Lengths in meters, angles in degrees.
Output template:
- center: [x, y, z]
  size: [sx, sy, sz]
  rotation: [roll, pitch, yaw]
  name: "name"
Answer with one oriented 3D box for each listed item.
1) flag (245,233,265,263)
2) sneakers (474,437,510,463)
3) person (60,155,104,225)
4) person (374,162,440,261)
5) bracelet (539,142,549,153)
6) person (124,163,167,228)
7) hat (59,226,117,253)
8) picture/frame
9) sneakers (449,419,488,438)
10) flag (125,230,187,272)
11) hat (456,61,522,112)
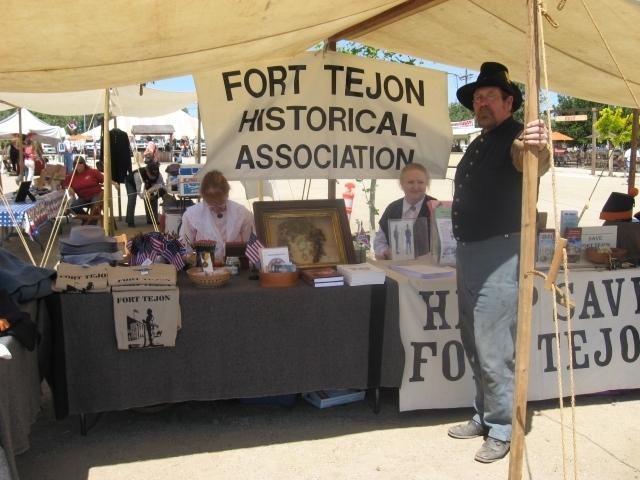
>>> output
- center: [-0.469, 0.066, 4.351]
  size: [0.177, 0.296, 0.014]
  rotation: [-10, -20, 4]
  name: "flag"
- center: [1.163, 1.365, 3.917]
  size: [0.125, 0.119, 0.346]
  rotation: [-2, -3, 43]
  name: "sneakers"
- center: [-4.403, -0.941, 11.062]
  size: [0.695, 1.258, 2.814]
  rotation: [-3, 7, -24]
  name: "person"
- center: [0.729, -0.256, 5.169]
  size: [0.516, 0.832, 0.770]
  rotation: [1, 6, 11]
  name: "person"
- center: [1.139, -0.472, 2.997]
  size: [0.053, 0.026, 0.074]
  rotation: [3, -8, 4]
  name: "bracelet"
- center: [-3.503, -0.946, 11.967]
  size: [0.799, 1.322, 1.505]
  rotation: [-3, 6, -23]
  name: "person"
- center: [-1.743, 0.002, 4.466]
  size: [0.405, 0.195, 0.268]
  rotation: [-3, 7, -25]
  name: "hat"
- center: [-0.121, -0.027, 4.506]
  size: [0.550, 0.438, 0.057]
  rotation: [-3, -22, -17]
  name: "picture/frame"
- center: [1.035, 1.313, 4.135]
  size: [0.273, 0.116, 0.112]
  rotation: [2, -1, -9]
  name: "sneakers"
- center: [-1.193, 0.070, 4.412]
  size: [0.303, 0.176, 0.330]
  rotation: [1, 4, -4]
  name: "flag"
- center: [1.138, -1.039, 3.930]
  size: [0.411, 0.362, 0.565]
  rotation: [1, 6, 12]
  name: "hat"
